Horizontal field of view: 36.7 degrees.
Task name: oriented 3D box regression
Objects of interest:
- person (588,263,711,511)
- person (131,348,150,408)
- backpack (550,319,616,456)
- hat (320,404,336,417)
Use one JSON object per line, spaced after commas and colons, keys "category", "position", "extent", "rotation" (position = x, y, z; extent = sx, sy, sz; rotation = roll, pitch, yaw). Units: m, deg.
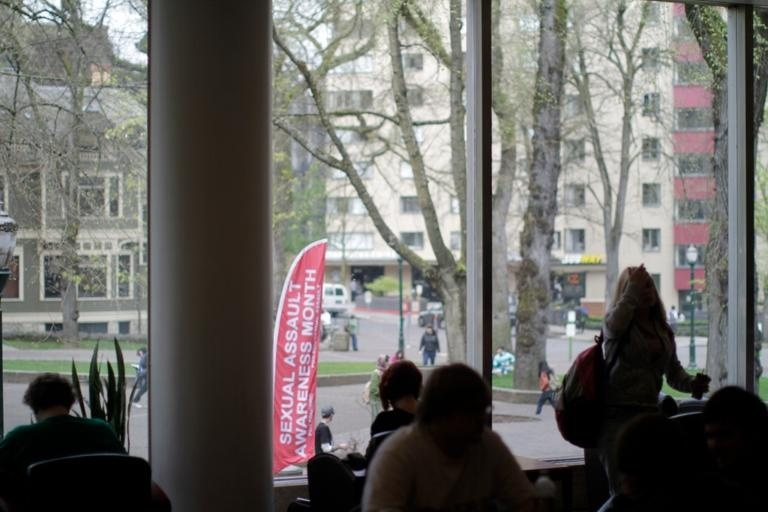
{"category": "person", "position": [1.957, 0.938, 9.010], "extent": [0.637, 1.728, 0.309], "rotation": [-3, -4, 10]}
{"category": "person", "position": [-2.122, 1.041, 10.039], "extent": [0.136, 0.506, 0.769], "rotation": [-1, -4, -13]}
{"category": "backpack", "position": [1.733, 1.040, 9.167], "extent": [0.449, 0.766, 0.716], "rotation": [15, 13, 12]}
{"category": "hat", "position": [-0.573, 1.538, 11.537], "extent": [0.078, 0.101, 0.099], "rotation": [10, 31, 12]}
